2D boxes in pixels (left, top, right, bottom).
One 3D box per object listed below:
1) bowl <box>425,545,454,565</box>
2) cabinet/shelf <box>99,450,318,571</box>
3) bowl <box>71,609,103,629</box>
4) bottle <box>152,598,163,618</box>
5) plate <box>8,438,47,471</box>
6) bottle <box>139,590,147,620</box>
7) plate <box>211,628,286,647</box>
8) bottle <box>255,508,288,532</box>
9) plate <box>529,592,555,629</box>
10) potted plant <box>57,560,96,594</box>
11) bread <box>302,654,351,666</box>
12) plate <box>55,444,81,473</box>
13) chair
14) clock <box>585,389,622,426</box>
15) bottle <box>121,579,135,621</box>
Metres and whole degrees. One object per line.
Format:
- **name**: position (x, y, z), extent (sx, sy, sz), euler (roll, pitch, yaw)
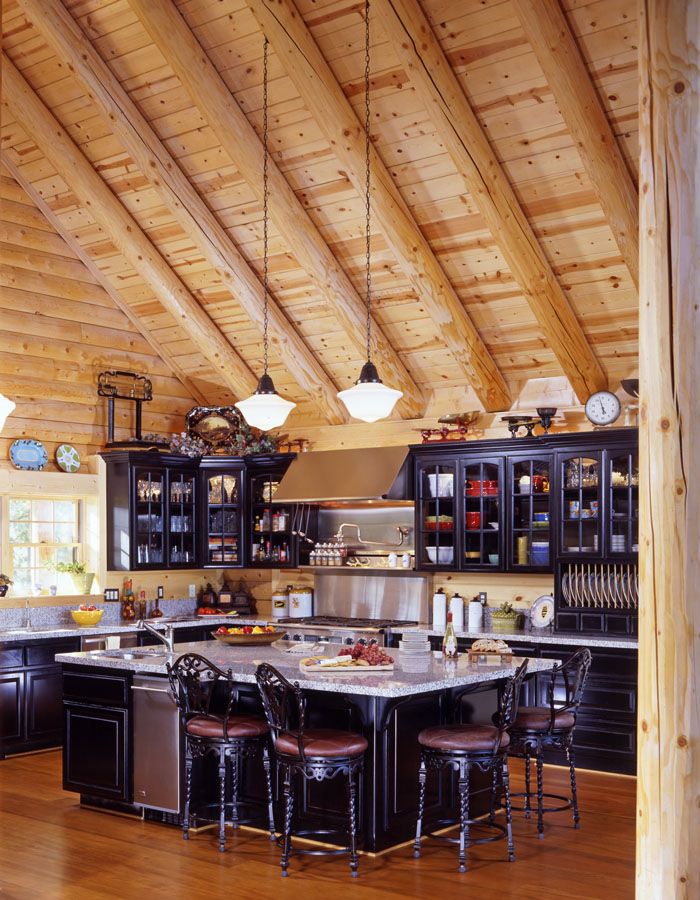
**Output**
- **bowl**: position (0.776, 0.907, 7.316), extent (0.184, 0.104, 0.173), euler (1, -6, 0)
- **cabinet/shelf**: position (-1.463, 0.599, 8.262), extent (1.531, 0.843, 1.491), euler (-4, -7, 31)
- **bowl**: position (-2.284, 1.458, 7.346), extent (0.202, 0.097, 0.186), euler (0, -9, 0)
- **bottle**: position (-1.887, 1.542, 8.322), extent (0.095, 0.176, 0.255), euler (2, -6, -13)
- **plate**: position (-2.866, 0.037, 7.646), extent (0.123, 0.296, 0.410), euler (-2, -6, 21)
- **bottle**: position (-2.004, 1.487, 8.215), extent (0.088, 0.253, 0.425), euler (2, -6, -14)
- **plate**: position (-0.685, 1.260, 5.722), extent (0.446, 0.123, 0.274), euler (1, -6, -7)
- **bottle**: position (-0.771, 0.695, 8.434), extent (0.272, 0.203, 0.088), euler (2, 3, 35)
- **plate**: position (1.519, 1.290, 6.730), extent (0.179, 0.280, 0.450), euler (-1, -6, 10)
- **potted plant**: position (-2.520, 1.174, 7.879), extent (0.308, 0.209, 0.320), euler (3, -4, -45)
- **bread**: position (-0.124, 1.154, 4.661), extent (0.128, 0.026, 0.118), euler (2, -3, -32)
- **plate**: position (-2.640, 0.075, 8.006), extent (0.088, 0.265, 0.300), euler (-3, -7, 27)
- **chair**: position (0.076, 1.641, 4.431), extent (1.275, 0.536, 0.731), euler (-2, -1, 37)
- **clock**: position (1.923, -0.319, 6.467), extent (0.272, 0.243, 0.066), euler (-22, -15, 33)
- **bottle**: position (-2.088, 1.402, 7.990), extent (0.134, 0.366, 0.335), euler (2, -6, -15)
